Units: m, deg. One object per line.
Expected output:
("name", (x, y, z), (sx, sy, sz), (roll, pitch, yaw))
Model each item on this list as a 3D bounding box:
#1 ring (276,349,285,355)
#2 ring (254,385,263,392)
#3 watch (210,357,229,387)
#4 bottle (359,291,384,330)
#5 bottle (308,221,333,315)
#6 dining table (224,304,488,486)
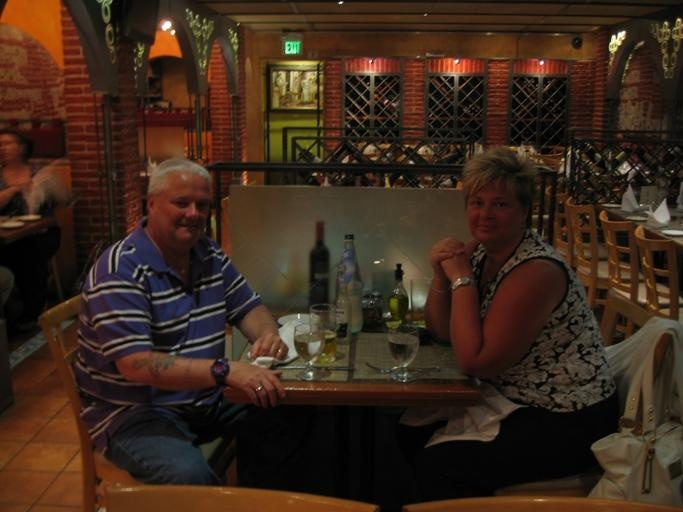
("ring", (-0.232, 0.367, 2.112), (0.022, 0.017, 0.022), (-19, 38, 15))
("ring", (-0.285, 0.454, 1.893), (0.021, 0.015, 0.021), (-13, 44, 13))
("watch", (-0.429, 0.409, 1.946), (0.069, 0.087, 0.054), (-1, 11, -4))
("bottle", (0.133, 0.251, 2.426), (0.134, 0.142, 0.137), (0, -6, 1))
("bottle", (-0.118, 0.030, 2.852), (0.114, 0.439, 0.086), (1, 11, 11))
("dining table", (0.143, 0.460, 2.156), (0.564, 0.411, 0.575), (0, 15, 2))
